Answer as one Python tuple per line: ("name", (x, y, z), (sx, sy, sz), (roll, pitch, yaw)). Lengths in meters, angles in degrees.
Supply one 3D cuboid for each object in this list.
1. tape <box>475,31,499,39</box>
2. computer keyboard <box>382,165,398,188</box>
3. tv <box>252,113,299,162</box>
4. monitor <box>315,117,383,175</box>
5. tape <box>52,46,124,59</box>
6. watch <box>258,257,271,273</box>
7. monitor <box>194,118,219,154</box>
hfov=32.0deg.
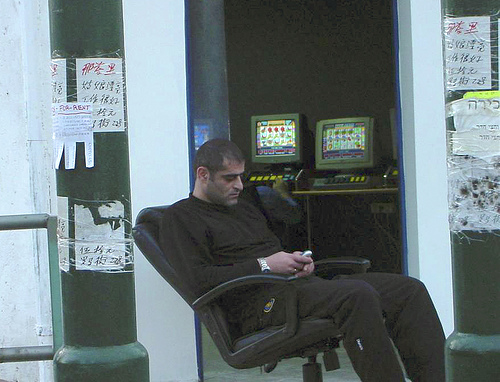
("tape", (1.055, -0.694, 3.879), (0.057, 0.036, 0.013), (2, -2, 8))
("computer keyboard", (1.159, -0.114, 7.266), (0.175, 0.167, 0.313), (2, 15, 13))
("tv", (0.278, -0.482, 7.950), (0.484, 0.418, 0.277), (-2, -5, 22))
("monitor", (0.821, -0.417, 7.651), (0.531, 0.434, 0.136), (-1, 3, 24))
("tape", (-0.759, -0.648, 4.078), (0.323, 0.053, 0.049), (-2, 2, -5))
("watch", (0.074, 0.374, 4.394), (0.056, 0.064, 0.077), (-2, 2, -6))
("monitor", (-0.300, -0.301, 5.443), (0.194, 0.261, 0.144), (-4, -32, -1))
